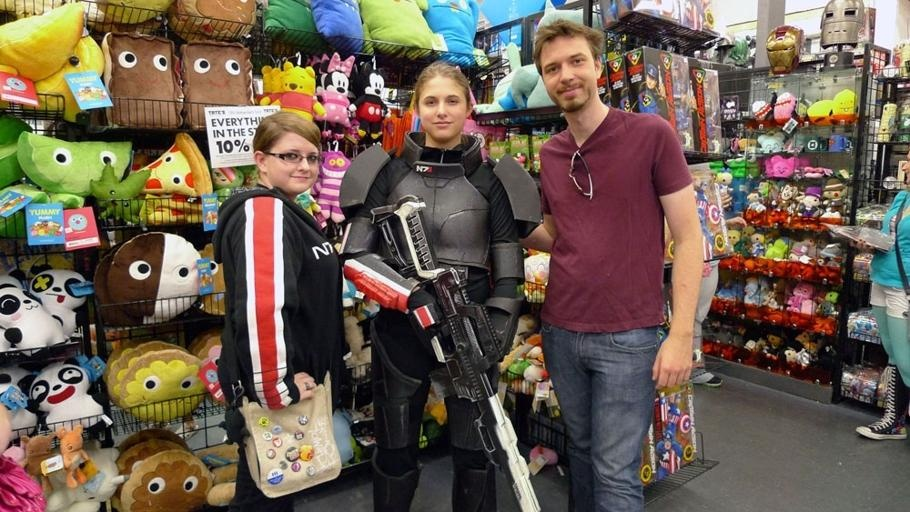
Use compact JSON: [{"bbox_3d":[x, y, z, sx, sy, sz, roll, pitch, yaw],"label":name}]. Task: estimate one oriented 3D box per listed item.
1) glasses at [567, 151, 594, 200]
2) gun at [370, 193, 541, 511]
[{"bbox_3d":[0.728,-0.446,3.578,0.164,0.250,0.069,5,13,31],"label":"glasses"},{"bbox_3d":[-0.029,0.574,3.776,0.807,2.097,0.197,-20,3,34],"label":"gun"}]
